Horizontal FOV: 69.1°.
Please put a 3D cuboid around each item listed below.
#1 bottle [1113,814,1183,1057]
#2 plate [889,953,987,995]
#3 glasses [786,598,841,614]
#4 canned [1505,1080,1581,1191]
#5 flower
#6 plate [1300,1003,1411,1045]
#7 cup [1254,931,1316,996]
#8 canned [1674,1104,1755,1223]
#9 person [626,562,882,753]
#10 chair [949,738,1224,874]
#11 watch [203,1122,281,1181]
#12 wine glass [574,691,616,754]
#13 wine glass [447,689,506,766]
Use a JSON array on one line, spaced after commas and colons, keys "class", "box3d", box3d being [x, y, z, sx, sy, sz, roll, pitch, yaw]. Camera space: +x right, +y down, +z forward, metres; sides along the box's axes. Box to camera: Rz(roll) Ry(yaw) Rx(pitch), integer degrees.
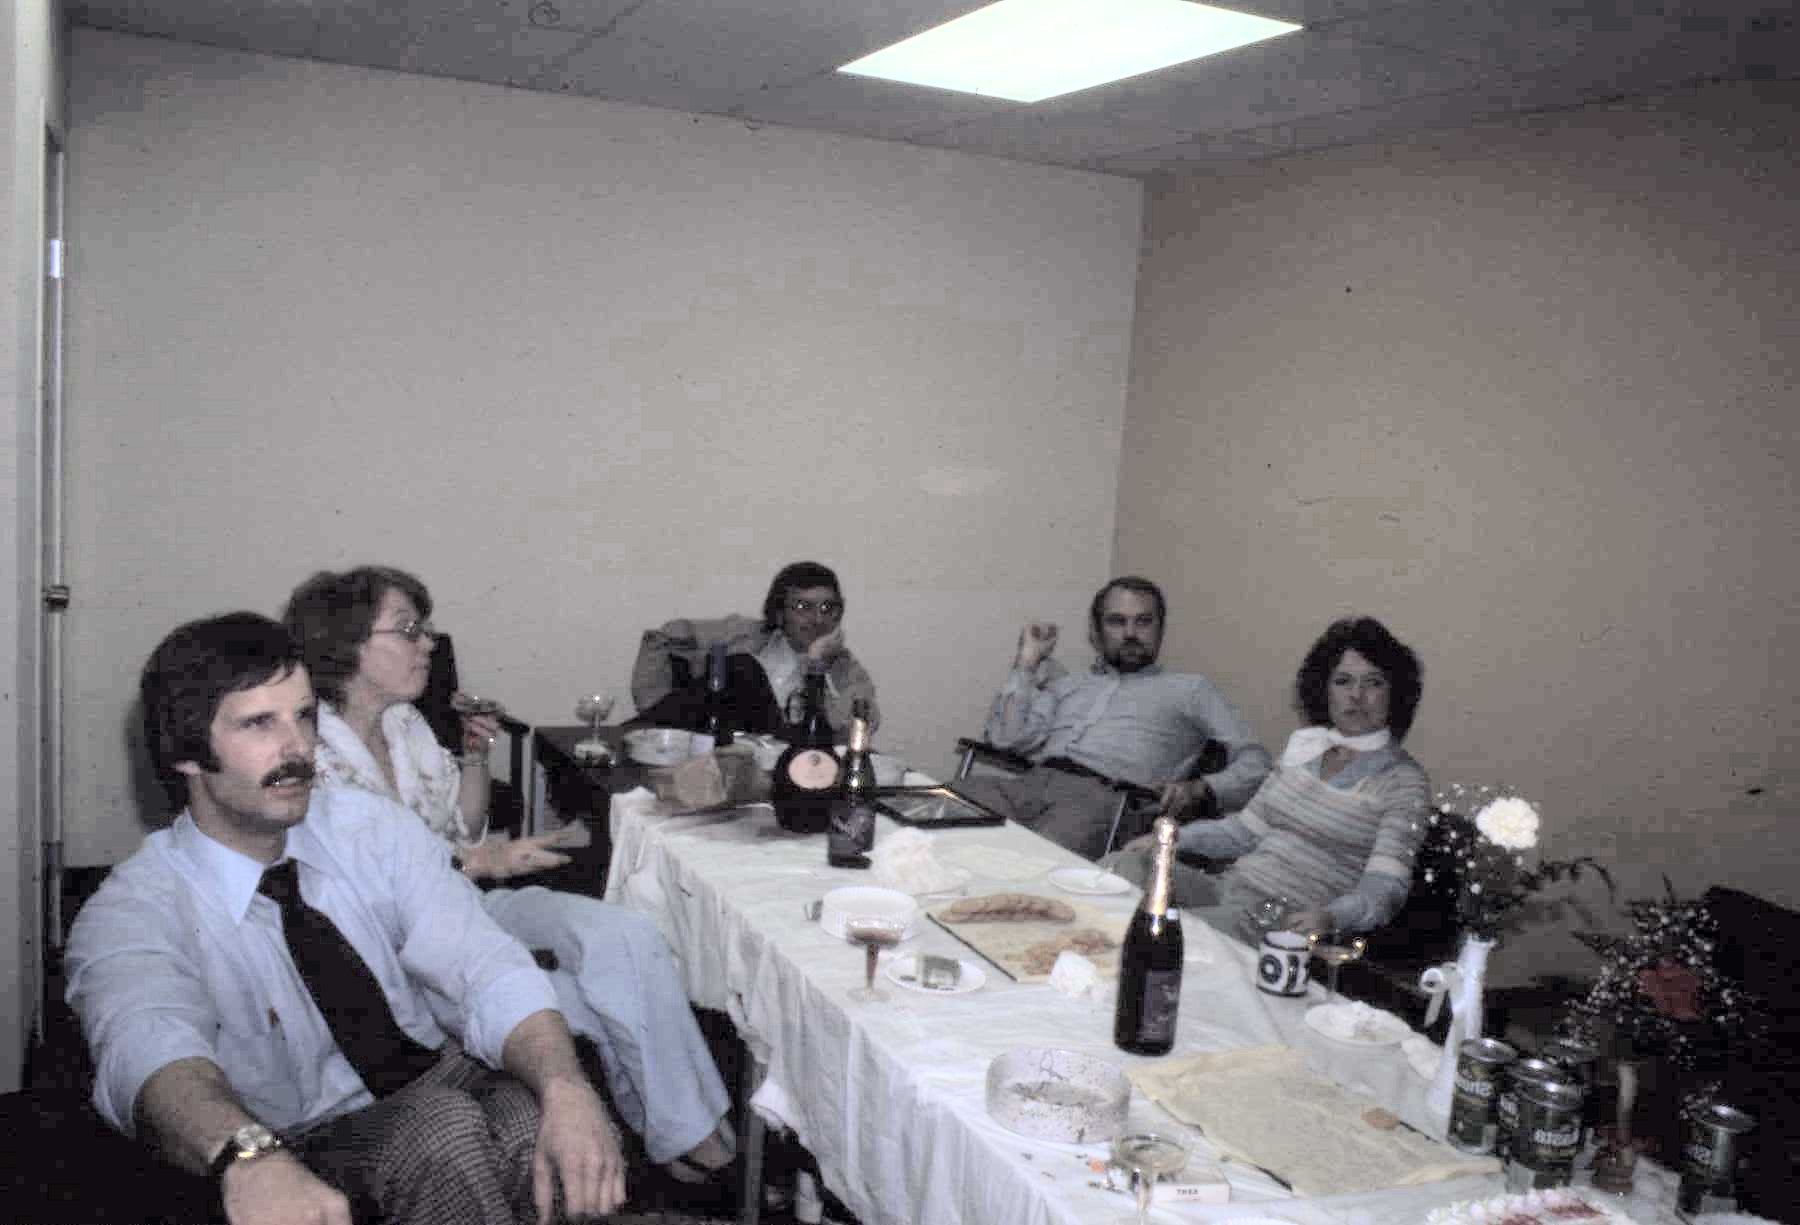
[{"class": "bottle", "box3d": [0.482, 0.598, 2.509, 0.121, 0.462, 0.216, 3, 6, 12]}, {"class": "plate", "box3d": [0.075, 0.735, 2.678, 0.205, 0.049, 0.115, 2, 5, 3]}, {"class": "glasses", "box3d": [-0.328, -0.021, 5.081, 0.195, 0.065, 0.070, -1, 6, -27]}, {"class": "canned", "box3d": [1.087, 0.869, 2.170, 0.141, 0.167, 0.087, 1, 6, -8]}, {"class": "flower", "box3d": [1.577, 0.813, 2.975, 0.748, 0.586, 0.817, 3, -2, -5]}, {"class": "plate", "box3d": [0.909, 0.816, 2.613, 0.197, 0.048, 0.140, 5, 6, 29]}, {"class": "cup", "box3d": [0.805, 0.742, 2.806, 0.123, 0.124, 0.122, 2, -3, 0]}, {"class": "canned", "box3d": [1.323, 0.899, 2.133, 0.090, 0.185, 0.082, 6, 7, 32]}, {"class": "person", "box3d": [-0.614, 0.178, 4.956, 0.667, 0.412, 0.884, 4, 10, 12]}, {"class": "chair", "box3d": [0.702, 0.619, 4.794, 0.632, 0.638, 0.515, 37, -13, -24]}, {"class": "watch", "box3d": [-1.077, 0.880, 2.146, 0.110, 0.065, 0.063, -1, 7, -30]}, {"class": "wine glass", "box3d": [-1.085, 0.392, 4.626, 0.138, 0.207, 0.134, 7, 13, 11]}, {"class": "wine glass", "box3d": [-1.174, 0.310, 3.645, 0.229, 0.210, 0.088, 2, 22, -3]}]
